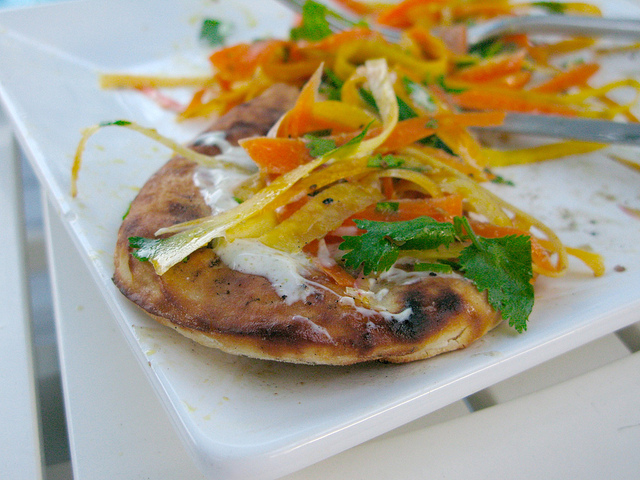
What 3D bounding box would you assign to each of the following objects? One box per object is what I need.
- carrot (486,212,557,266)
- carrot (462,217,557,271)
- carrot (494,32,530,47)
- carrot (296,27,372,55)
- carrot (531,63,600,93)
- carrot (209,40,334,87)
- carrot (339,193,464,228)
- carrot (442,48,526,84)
[{"bbox_3d":[0.518,0.012,1.774,0.071,0.327,0.074,-49,45,23],"label":"carrot"},{"bbox_3d":[0.539,0.006,1.803,0.270,0.177,0.040,9,84,48],"label":"carrot"},{"bbox_3d":[0.611,-0.631,2.060,0.076,0.015,0.055,28,52,34],"label":"carrot"},{"bbox_3d":[0.035,-0.617,2.052,0.250,0.079,0.079,3,46,7],"label":"carrot"},{"bbox_3d":[0.737,-0.489,1.996,0.168,0.023,0.036,-14,38,-9],"label":"carrot"},{"bbox_3d":[-0.187,-0.577,2.178,0.341,0.085,0.091,8,30,-18],"label":"carrot"},{"bbox_3d":[0.223,-0.079,1.730,0.230,0.055,0.118,-18,20,10],"label":"carrot"},{"bbox_3d":[0.517,-0.514,1.979,0.305,0.067,0.034,-10,27,4],"label":"carrot"}]
